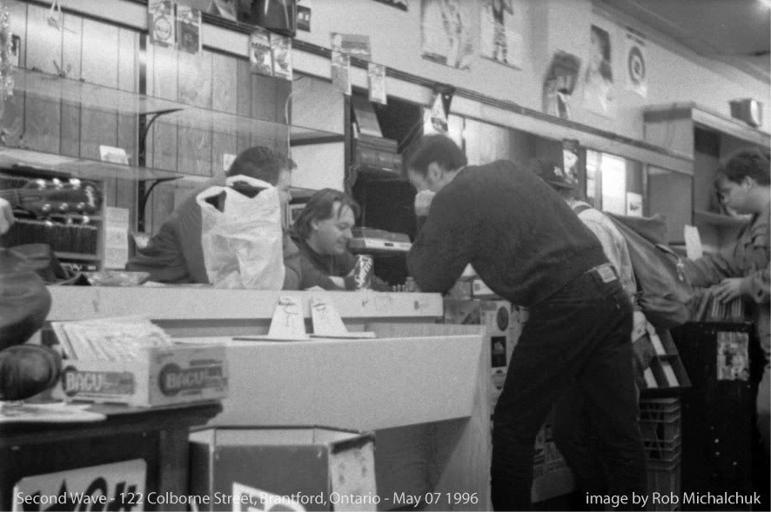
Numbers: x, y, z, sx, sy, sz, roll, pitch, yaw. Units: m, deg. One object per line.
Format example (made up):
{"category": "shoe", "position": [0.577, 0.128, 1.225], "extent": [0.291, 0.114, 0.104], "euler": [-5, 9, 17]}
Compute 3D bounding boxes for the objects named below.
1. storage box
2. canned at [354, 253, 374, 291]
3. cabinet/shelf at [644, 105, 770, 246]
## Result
{"category": "storage box", "position": [-0.780, 0.375, 3.448], "extent": [0.291, 0.154, 0.304], "euler": [-2, -4, 29]}
{"category": "canned", "position": [-0.105, 0.078, 5.093], "extent": [0.095, 0.163, 0.038], "euler": [15, -22, -31]}
{"category": "cabinet/shelf", "position": [1.774, -0.420, 5.484], "extent": [0.699, 0.675, 0.199], "euler": [6, -9, -41]}
